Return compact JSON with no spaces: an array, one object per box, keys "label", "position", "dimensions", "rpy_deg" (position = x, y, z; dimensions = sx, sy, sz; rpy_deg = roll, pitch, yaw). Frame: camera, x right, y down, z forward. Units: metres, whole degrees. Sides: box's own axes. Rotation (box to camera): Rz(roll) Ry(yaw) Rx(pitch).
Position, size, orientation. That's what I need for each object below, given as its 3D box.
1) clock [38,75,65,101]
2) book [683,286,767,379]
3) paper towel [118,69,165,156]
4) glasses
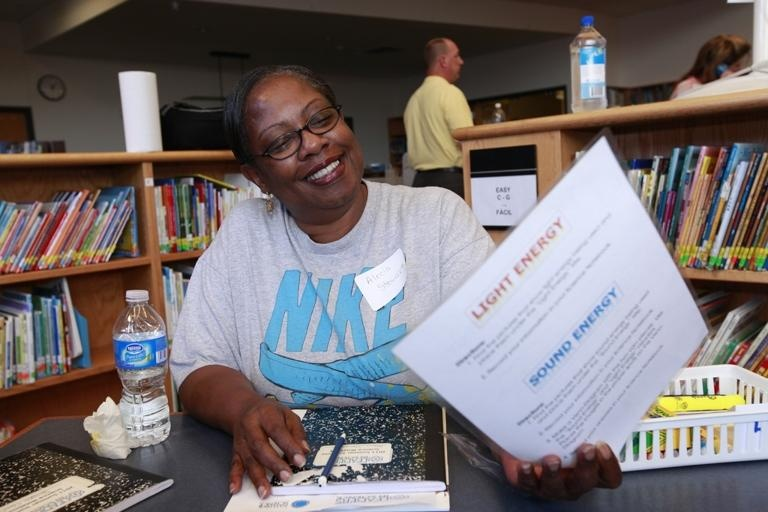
[{"label":"clock","position":[-4.870,-2.448,8.207],"dimensions":[0.057,0.388,0.419],"rpy_deg":[4,10,29]},{"label":"book","position":[1.264,0.254,2.169],"dimensions":[0.164,0.415,0.569],"rpy_deg":[34,10,27]},{"label":"paper towel","position":[-1.305,-0.770,3.008],"dimensions":[0.176,0.417,0.173],"rpy_deg":[-5,10,-26]},{"label":"glasses","position":[-0.238,-0.338,1.549],"dimensions":[0.239,0.148,0.091],"rpy_deg":[-3,9,-10]}]
